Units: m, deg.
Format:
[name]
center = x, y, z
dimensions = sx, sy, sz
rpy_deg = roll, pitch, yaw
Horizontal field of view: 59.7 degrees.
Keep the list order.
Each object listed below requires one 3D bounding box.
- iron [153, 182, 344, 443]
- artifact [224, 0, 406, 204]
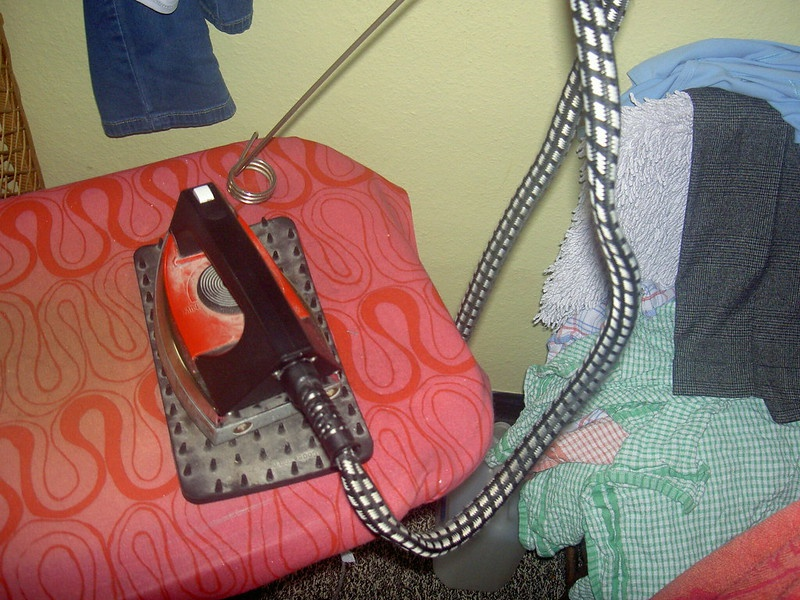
[iron]
center = -0.223, -0.014, 0.938
dimensions = 0.229, 0.146, 0.347
rpy_deg = -19, 61, -31
[artifact]
center = -0.148, -0.338, 1.157
dimensions = 0.475, 0.083, 0.066
rpy_deg = -40, 1, -4
